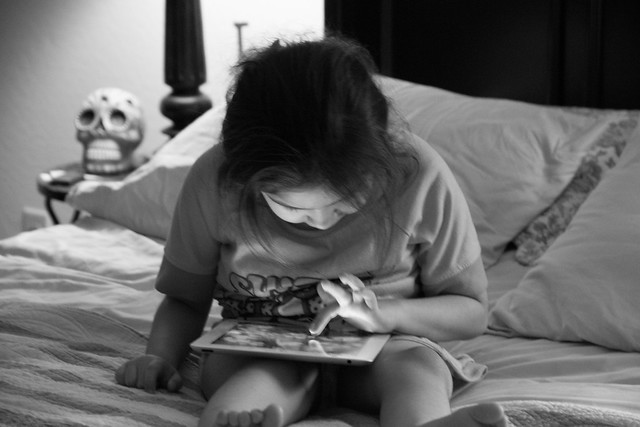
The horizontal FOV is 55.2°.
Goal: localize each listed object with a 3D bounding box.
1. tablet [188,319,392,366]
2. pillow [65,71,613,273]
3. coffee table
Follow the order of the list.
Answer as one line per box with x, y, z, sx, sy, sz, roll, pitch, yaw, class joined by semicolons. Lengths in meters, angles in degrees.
-0.053;0.253;1.188;0.358;0.064;0.159;6;16;13;tablet
0.213;-0.172;1.891;0.888;0.220;0.887;18;42;23;pillow
-0.900;-0.144;2.453;0.367;0.305;0.351;11;19;38;coffee table
